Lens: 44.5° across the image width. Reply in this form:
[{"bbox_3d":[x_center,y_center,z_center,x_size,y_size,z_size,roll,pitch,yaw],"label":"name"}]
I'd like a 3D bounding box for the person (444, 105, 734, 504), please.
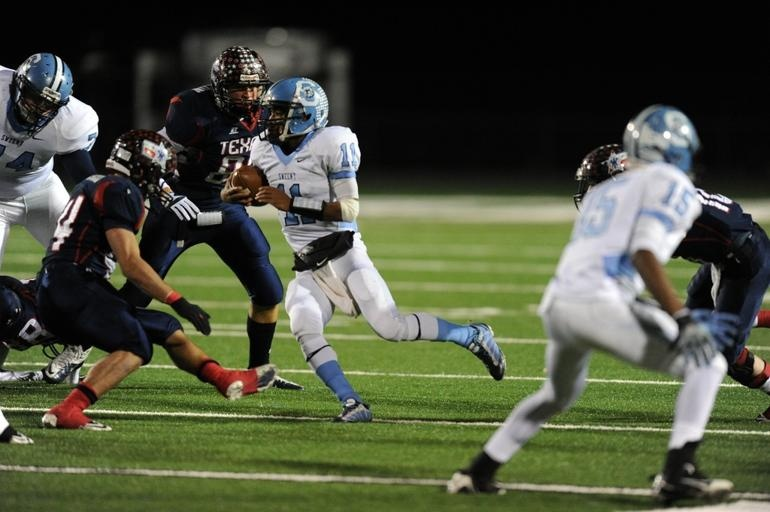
[{"bbox_3d":[1.102,0.252,4.665,1.128,1.927,0.691,1,9,5],"label":"person"}]

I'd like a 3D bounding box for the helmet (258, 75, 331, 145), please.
[{"bbox_3d":[-0.630,-0.954,6.139,0.506,0.355,0.377,-4,6,-15],"label":"helmet"}]

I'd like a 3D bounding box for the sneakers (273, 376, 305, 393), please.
[{"bbox_3d":[-0.690,0.906,6.614,0.279,0.105,0.089,0,5,-3],"label":"sneakers"}]

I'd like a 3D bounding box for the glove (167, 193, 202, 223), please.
[{"bbox_3d":[-1.366,-0.330,6.340,0.059,0.209,0.140,-24,25,53],"label":"glove"}]

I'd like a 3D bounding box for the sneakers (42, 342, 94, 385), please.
[{"bbox_3d":[-2.222,0.745,6.500,0.279,0.307,0.288,-4,10,-26],"label":"sneakers"}]

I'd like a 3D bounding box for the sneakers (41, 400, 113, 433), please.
[{"bbox_3d":[-1.856,0.957,5.651,0.498,0.209,0.155,2,0,-9],"label":"sneakers"}]

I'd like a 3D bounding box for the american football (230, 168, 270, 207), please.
[{"bbox_3d":[-0.892,-0.453,6.144,0.222,0.204,0.254,-1,31,-43],"label":"american football"}]

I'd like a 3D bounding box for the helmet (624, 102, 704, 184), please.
[{"bbox_3d":[1.363,-0.599,4.906,0.423,0.371,0.301,-9,26,-6],"label":"helmet"}]

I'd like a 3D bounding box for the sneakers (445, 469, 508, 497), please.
[{"bbox_3d":[0.436,1.142,4.780,0.357,0.134,0.114,-2,8,-1],"label":"sneakers"}]

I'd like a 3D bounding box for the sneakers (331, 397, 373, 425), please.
[{"bbox_3d":[-0.196,0.945,5.843,0.301,0.118,0.104,-1,6,-9],"label":"sneakers"}]

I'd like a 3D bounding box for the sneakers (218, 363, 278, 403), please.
[{"bbox_3d":[-0.852,0.770,5.842,0.345,0.181,0.116,-7,12,-41],"label":"sneakers"}]

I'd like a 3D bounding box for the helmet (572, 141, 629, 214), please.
[{"bbox_3d":[1.355,-0.520,5.942,0.439,0.380,0.340,-10,1,15],"label":"helmet"}]

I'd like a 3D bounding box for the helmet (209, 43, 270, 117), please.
[{"bbox_3d":[-1.103,-1.279,6.636,0.408,0.457,0.507,-9,40,-27],"label":"helmet"}]

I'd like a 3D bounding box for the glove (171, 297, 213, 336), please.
[{"bbox_3d":[-1.171,0.354,5.688,0.216,0.254,0.254,1,9,6],"label":"glove"}]

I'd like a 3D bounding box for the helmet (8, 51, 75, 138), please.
[{"bbox_3d":[-2.357,-1.106,6.386,0.424,0.558,0.400,-3,10,-21],"label":"helmet"}]
